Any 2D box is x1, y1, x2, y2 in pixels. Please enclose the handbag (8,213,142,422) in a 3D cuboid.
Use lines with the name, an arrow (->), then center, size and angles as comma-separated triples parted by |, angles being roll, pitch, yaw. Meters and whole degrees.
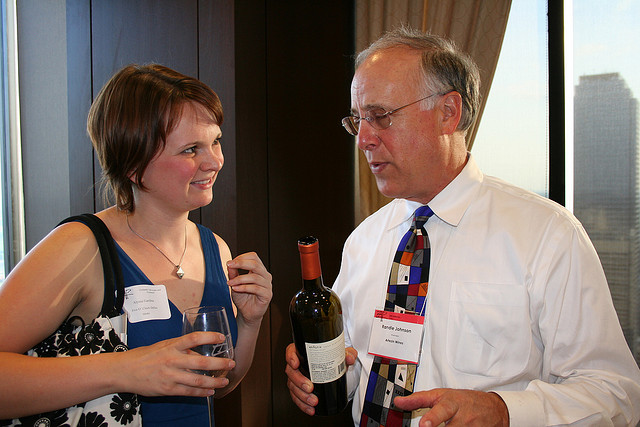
handbag -> -1.144, 0.492, 2.588 | 0.479, 0.953, 0.408 | -2, 5, -27

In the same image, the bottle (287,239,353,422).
bottle -> -0.004, 0.521, 2.520 | 0.268, 0.833, 0.205 | -1, 4, -6

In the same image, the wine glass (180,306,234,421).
wine glass -> -0.553, 0.756, 2.614 | 0.216, 0.656, 0.379 | -2, 4, -21
